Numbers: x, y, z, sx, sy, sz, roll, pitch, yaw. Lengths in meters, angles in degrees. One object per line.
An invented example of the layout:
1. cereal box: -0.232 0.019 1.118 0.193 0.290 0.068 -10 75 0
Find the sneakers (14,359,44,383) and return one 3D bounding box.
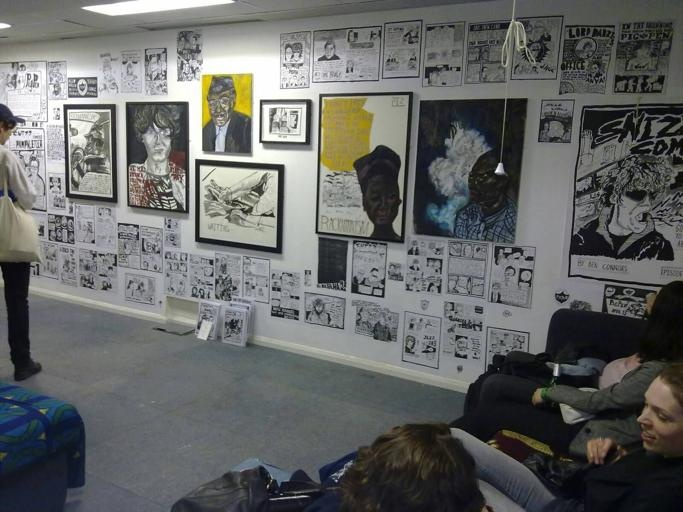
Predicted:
1. sneakers: -2.783 1.013 4.315 0.099 0.121 0.277 7 13 20

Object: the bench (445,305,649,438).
1. bench: 1.475 0.884 3.326 0.966 0.996 0.999 4 0 30

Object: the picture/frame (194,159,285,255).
1. picture/frame: -1.072 -0.566 5.247 0.953 0.841 0.036 6 7 21

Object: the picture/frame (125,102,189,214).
1. picture/frame: -2.117 -1.190 5.638 1.101 1.589 0.057 9 14 29

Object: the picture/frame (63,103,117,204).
1. picture/frame: -3.124 -1.332 6.062 1.070 1.480 0.081 8 13 26

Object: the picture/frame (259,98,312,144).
1. picture/frame: -0.546 -1.385 4.915 0.446 0.388 0.033 7 14 26
